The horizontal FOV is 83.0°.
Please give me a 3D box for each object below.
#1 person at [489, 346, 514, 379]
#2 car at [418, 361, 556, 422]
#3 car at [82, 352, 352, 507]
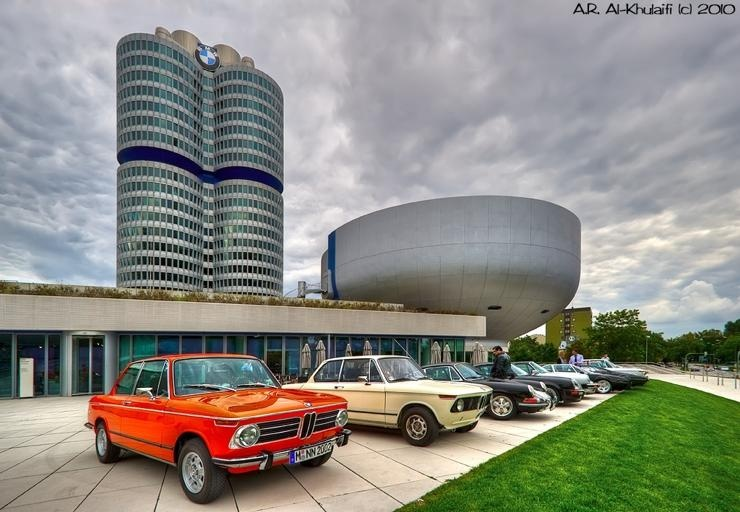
[{"bbox_3d":[4.490,3.635,14.363,0.580,1.502,0.714,-6,27,12],"label":"person"},{"bbox_3d":[3.735,4.140,13.171,3.599,1.185,1.861,-4,-9,20],"label":"car"},{"bbox_3d":[-3.401,3.121,8.576,4.634,1.819,2.443,-10,-16,37],"label":"car"}]
